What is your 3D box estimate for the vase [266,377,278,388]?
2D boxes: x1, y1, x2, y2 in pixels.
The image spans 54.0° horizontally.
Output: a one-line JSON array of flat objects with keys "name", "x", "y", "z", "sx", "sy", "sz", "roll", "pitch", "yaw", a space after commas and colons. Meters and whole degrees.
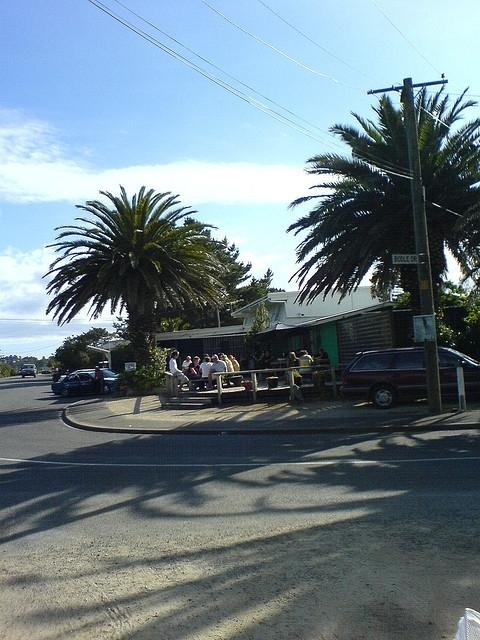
[{"name": "vase", "x": 1.381, "y": 2.641, "z": 20.138, "sx": 0.384, "sy": 0.448, "sz": 0.692, "roll": -3, "pitch": -3, "yaw": 7}]

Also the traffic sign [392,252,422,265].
[{"name": "traffic sign", "x": 4.756, "y": -1.743, "z": 13.460, "sx": 0.997, "sy": 0.273, "sz": 0.178, "roll": -1, "pitch": -3, "yaw": -25}]

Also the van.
[{"name": "van", "x": 5.360, "y": 1.854, "z": 15.720, "sx": 4.388, "sy": 1.349, "sz": 1.926, "roll": -4, "pitch": -2, "yaw": 14}]

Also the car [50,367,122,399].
[{"name": "car", "x": -11.003, "y": 4.406, "z": 33.509, "sx": 4.888, "sy": 1.834, "sz": 1.453, "roll": -3, "pitch": -3, "yaw": 21}]

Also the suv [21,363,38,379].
[{"name": "suv", "x": -34.946, "y": 8.312, "z": 78.405, "sx": 1.928, "sy": 1.476, "sz": 3.067, "roll": 0, "pitch": -7, "yaw": -11}]
